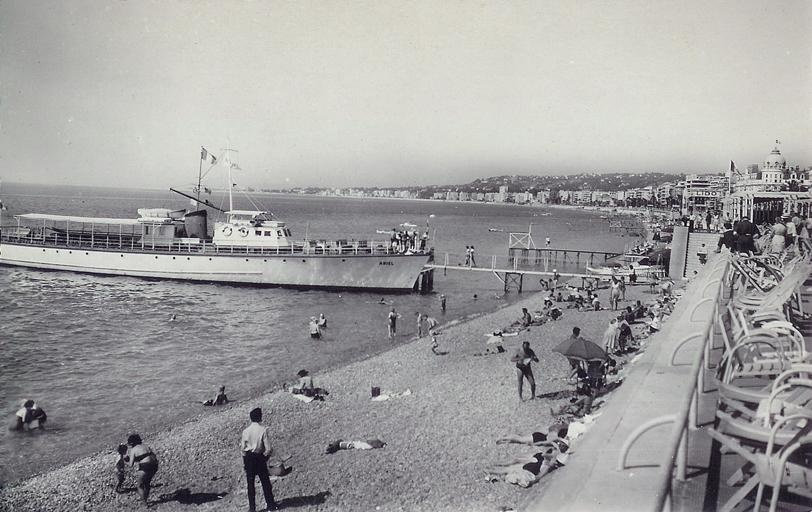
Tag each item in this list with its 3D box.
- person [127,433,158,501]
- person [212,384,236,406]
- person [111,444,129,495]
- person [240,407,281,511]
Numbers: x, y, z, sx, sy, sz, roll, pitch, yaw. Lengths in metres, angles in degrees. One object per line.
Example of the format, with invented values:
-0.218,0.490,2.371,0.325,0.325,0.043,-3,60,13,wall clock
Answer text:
-7.844,6.344,19.988,0.722,2.270,0.856,-8,9,-26,person
-7.058,5.461,25.926,0.735,0.954,0.719,7,15,10,person
-8.928,6.585,20.945,0.550,1.450,0.744,-8,9,-25,person
-4.173,5.739,18.887,0.831,3.147,1.534,-6,9,-14,person
